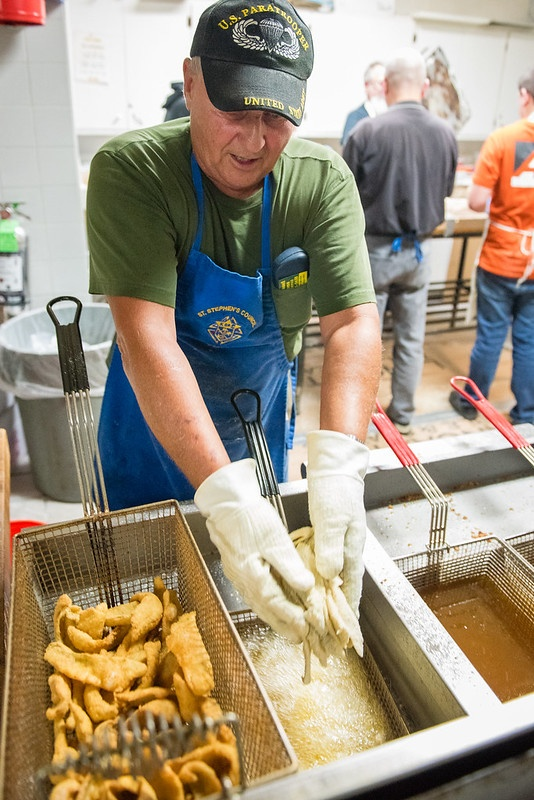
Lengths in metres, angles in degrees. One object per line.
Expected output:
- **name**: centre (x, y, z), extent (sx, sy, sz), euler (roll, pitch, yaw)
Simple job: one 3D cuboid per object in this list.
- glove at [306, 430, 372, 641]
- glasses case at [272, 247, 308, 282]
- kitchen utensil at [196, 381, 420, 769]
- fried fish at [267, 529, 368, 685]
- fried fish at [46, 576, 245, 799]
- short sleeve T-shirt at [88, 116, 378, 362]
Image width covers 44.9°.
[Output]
- **glove**: centre (0.092, 0.186, 0.973), extent (0.129, 0.114, 0.418), euler (-12, 10, 11)
- **glasses case**: centre (0.045, -0.263, 1.247), extent (0.053, 0.054, 0.018), euler (-29, 42, -3)
- **kitchen utensil**: centre (0.041, 0.243, 0.982), extent (0.155, 0.043, 0.554), euler (-19, 61, 10)
- **fried fish**: centre (0.070, 0.298, 0.923), extent (0.082, 0.123, 0.188), euler (31, 21, -51)
- **fried fish**: centre (-0.147, 0.316, 0.730), extent (0.165, 0.091, 0.267), euler (-5, 28, -11)
- **short sleeve T-shirt**: centre (0.014, -0.362, 1.418), extent (0.290, 0.515, 0.547), euler (3, 21, -25)
